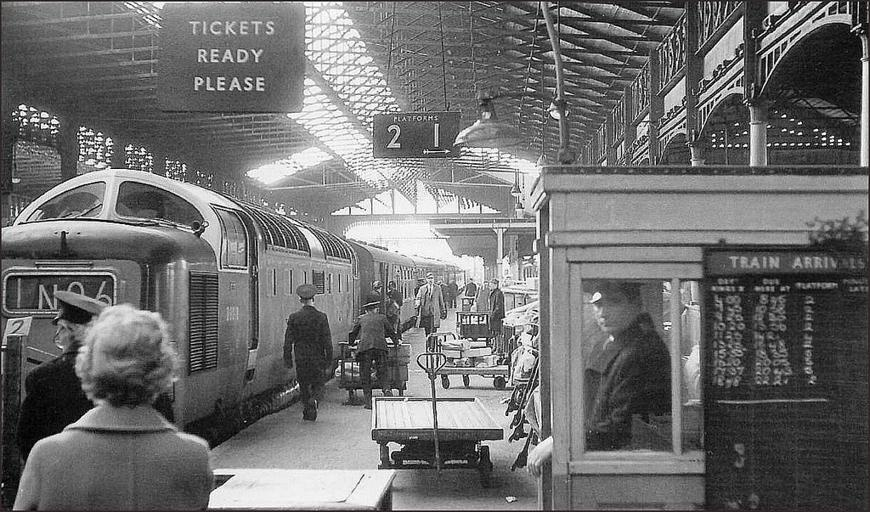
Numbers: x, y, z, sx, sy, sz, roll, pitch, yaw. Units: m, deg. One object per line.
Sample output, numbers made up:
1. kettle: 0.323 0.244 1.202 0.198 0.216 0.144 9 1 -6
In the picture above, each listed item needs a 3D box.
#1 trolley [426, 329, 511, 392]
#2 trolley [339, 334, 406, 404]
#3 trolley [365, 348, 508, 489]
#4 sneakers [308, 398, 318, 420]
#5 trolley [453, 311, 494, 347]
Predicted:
1. trolley: 0.883 2.354 25.467 1.986 1.028 1.451 1 5 15
2. trolley: -1.519 2.480 25.170 1.555 1.292 2.101 10 -1 -11
3. trolley: -0.020 2.610 19.780 2.161 2.052 3.726 1 1 -4
4. sneakers: -2.463 3.118 22.798 0.151 0.415 0.179 5 -11 -3
5. trolley: 1.066 1.824 29.625 1.079 0.527 0.653 3 -15 -7
